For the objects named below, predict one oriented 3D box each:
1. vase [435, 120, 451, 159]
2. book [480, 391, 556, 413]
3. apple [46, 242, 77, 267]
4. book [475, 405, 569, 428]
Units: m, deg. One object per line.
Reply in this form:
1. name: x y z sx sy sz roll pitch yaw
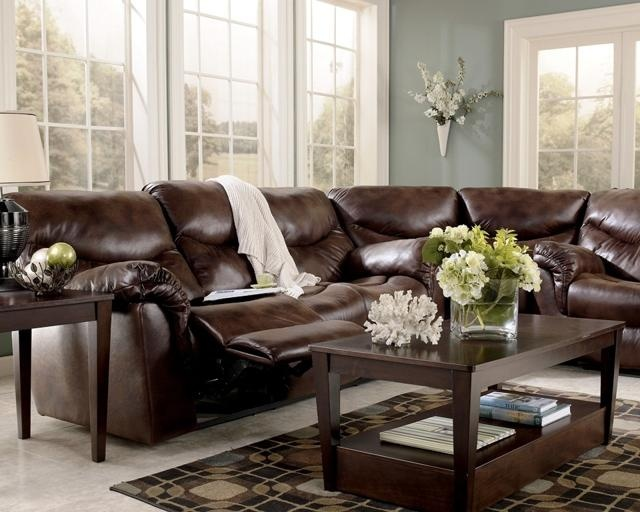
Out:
1. vase: 1.329 -1.236 6.083 0.150 0.371 0.099 -1 3 19
2. book: 0.759 0.558 2.171 0.215 0.034 0.181 2 2 17
3. apple: -1.015 -0.009 2.214 0.112 0.091 0.106 -4 42 -22
4. book: 0.752 0.595 2.126 0.131 0.022 0.131 3 6 40
